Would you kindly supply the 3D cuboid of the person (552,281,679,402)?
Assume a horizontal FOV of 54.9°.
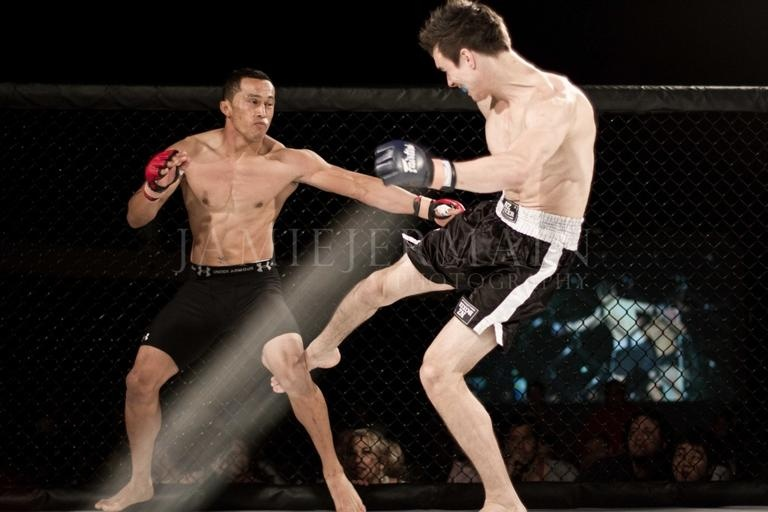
[{"bbox_3d":[1.747,0.641,5.549,0.909,0.303,0.814,-12,84,22],"label":"person"}]
